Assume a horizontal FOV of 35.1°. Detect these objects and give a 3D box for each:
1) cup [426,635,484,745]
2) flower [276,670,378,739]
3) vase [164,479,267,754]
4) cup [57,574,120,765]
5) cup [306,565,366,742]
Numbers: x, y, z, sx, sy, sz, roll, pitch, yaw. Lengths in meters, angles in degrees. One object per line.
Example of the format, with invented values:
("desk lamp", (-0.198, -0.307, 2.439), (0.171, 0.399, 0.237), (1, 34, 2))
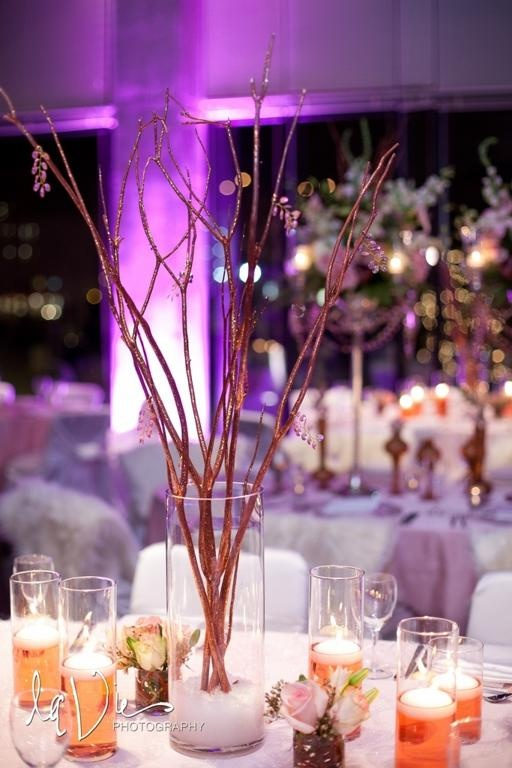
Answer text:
("cup", (0.243, 0.407, 1.025), (0.047, 0.077, 0.048), (1, -36, 1))
("flower", (0.079, 0.349, 0.910), (0.092, 0.055, 0.080), (7, 5, -40))
("vase", (-0.050, 0.293, 0.990), (0.122, 0.319, 0.077), (-2, -3, -9))
("cup", (-0.204, 0.353, 0.991), (0.068, 0.199, 0.084), (-2, -3, -14))
("cup", (0.103, 0.368, 1.087), (0.081, 0.223, 0.082), (2, -4, 0))
